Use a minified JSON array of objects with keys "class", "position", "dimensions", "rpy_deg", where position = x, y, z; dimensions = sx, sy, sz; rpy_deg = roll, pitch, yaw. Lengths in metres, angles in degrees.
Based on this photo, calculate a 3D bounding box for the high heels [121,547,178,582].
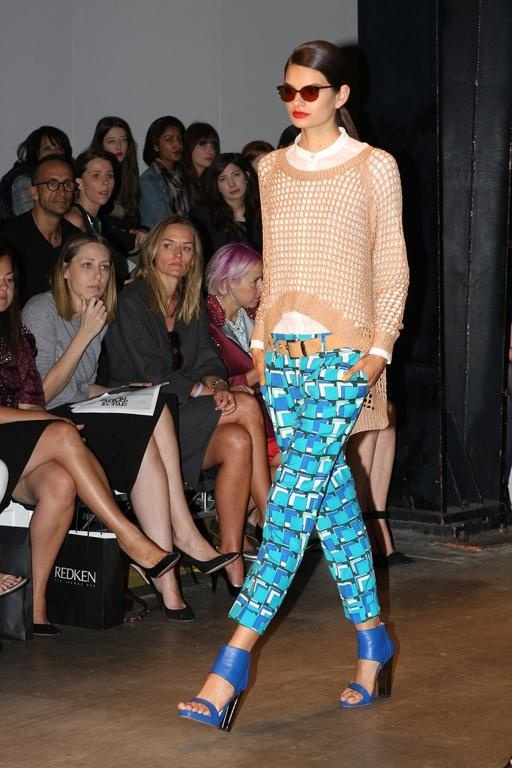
[{"class":"high heels","position":[-0.332,0.601,2.194],"dimensions":[0.073,0.076,0.251],"rpy_deg":[-4,-7,-20]}]

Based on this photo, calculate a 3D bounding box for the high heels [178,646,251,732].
[{"class":"high heels","position":[-0.068,0.585,1.259],"dimensions":[0.120,0.191,0.183],"rpy_deg":[-1,-8,6]}]

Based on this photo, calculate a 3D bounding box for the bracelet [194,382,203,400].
[{"class":"bracelet","position":[-0.241,0.030,2.753],"dimensions":[0.011,0.044,0.043],"rpy_deg":[18,-12,-10]}]

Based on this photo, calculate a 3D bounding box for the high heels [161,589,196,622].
[{"class":"high heels","position":[-0.273,0.764,2.285],"dimensions":[0.056,0.073,0.173],"rpy_deg":[3,1,-30]}]

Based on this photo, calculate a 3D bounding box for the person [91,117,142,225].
[{"class":"person","position":[-0.960,-1.447,4.448],"dimensions":[0.339,0.192,0.761],"rpy_deg":[-11,-37,-17]}]

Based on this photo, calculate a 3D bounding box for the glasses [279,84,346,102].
[{"class":"glasses","position":[0.108,-0.565,1.295],"dimensions":[0.073,0.022,0.070],"rpy_deg":[4,9,28]}]

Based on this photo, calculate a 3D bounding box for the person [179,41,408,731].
[{"class":"person","position":[0.097,0.010,1.357],"dimensions":[0.498,1.356,0.388],"rpy_deg":[2,-9,-12]}]
